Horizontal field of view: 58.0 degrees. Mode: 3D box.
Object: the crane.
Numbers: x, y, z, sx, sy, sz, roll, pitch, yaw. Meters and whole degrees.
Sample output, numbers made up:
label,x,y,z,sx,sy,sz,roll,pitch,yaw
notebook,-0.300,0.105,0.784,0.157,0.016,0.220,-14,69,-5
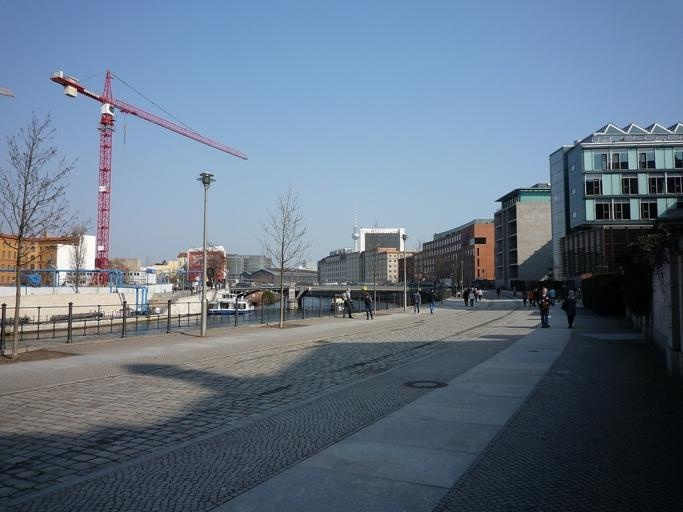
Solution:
label,x,y,z,sx,sy,sz,roll,pitch,yaw
crane,-28.369,-15.167,88.228,5.759,38.898,35.445,5,1,41
